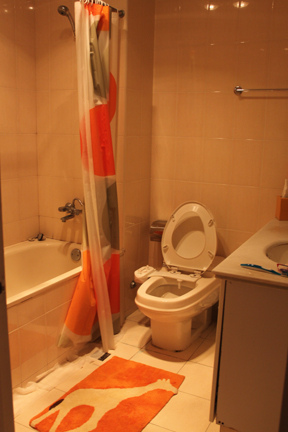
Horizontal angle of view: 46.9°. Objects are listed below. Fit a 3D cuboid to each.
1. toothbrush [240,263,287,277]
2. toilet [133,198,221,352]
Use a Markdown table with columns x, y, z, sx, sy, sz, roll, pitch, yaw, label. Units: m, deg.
| x | y | z | sx | sy | sz | roll | pitch | yaw | label |
| --- | --- | --- | --- | --- | --- | --- | --- | --- | --- |
| 0.388 | 0.161 | 1.101 | 0.153 | 0.035 | 0.042 | 12 | 12 | 34 | toothbrush |
| 0.187 | 0.372 | 2.103 | 0.504 | 0.882 | 0.668 | 3 | 8 | 16 | toilet |
